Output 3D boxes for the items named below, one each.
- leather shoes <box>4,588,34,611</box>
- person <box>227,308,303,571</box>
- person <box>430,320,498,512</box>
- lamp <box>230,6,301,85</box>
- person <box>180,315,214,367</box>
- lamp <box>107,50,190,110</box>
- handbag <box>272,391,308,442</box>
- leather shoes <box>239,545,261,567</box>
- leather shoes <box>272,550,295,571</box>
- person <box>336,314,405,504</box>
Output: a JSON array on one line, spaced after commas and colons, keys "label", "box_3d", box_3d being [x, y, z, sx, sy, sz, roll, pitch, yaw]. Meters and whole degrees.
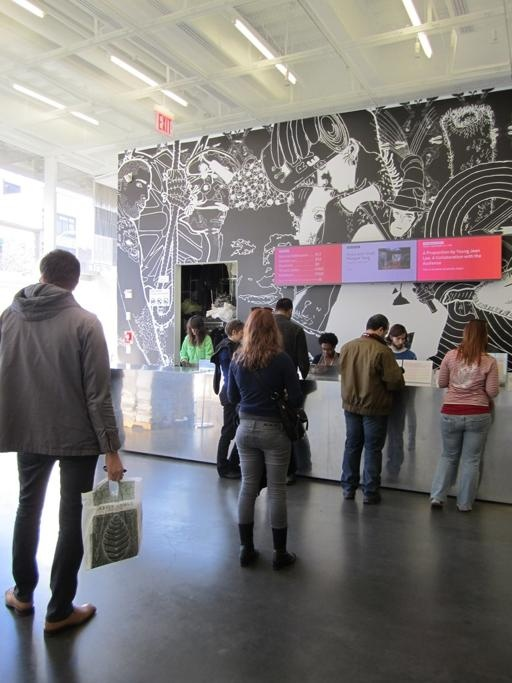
[{"label": "leather shoes", "box_3d": [-0.918, 1.012, 1.883, 0.063, 0.067, 0.139, 5, 7, -35]}, {"label": "person", "box_3d": [0.033, 0.495, 2.383, 0.353, 1.291, 0.171, 2, 3, 7]}, {"label": "person", "box_3d": [1.459, 0.525, 3.371, 0.387, 1.342, 0.228, 3, 4, 25]}, {"label": "lamp", "box_3d": [0.101, -2.889, 4.816, 0.160, 0.093, 1.248, 4, 4, 30]}, {"label": "person", "box_3d": [-0.725, -0.010, 5.878, 0.375, 0.574, 1.007, 1, 4, -8]}, {"label": "lamp", "box_3d": [-1.131, -2.918, 5.750, 0.215, 0.149, 1.627, 30, 8, 25]}, {"label": "handbag", "box_3d": [0.185, 0.382, 2.423, 0.120, 0.257, 0.281, 3, 4, 25]}, {"label": "leather shoes", "box_3d": [-0.027, 1.101, 2.442, 0.052, 0.092, 0.130, 1, 7, 18]}, {"label": "leather shoes", "box_3d": [0.131, 1.100, 2.429, 0.052, 0.099, 0.135, 1, 5, 32]}, {"label": "person", "box_3d": [0.844, 0.507, 3.597, 0.474, 1.395, 0.338, 3, 4, 18]}]
